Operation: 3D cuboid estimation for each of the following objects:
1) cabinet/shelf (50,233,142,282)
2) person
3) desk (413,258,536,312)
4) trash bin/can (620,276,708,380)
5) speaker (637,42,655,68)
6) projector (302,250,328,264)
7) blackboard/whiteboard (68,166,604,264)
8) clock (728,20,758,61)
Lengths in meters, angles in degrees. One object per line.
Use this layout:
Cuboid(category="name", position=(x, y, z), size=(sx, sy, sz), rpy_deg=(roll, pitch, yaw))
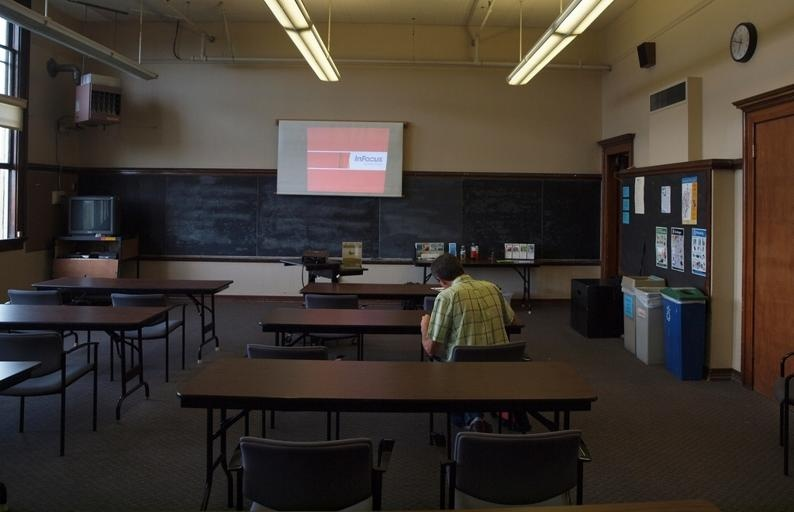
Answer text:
Cuboid(category="cabinet/shelf", position=(-5.116, 0.020, 10.312), size=(1.336, 0.924, 0.668), rpy_deg=(-1, -1, -7))
Cuboid(category="person", position=(0.653, 0.826, 5.757), size=(0.894, 1.651, 0.924), rpy_deg=(1, 4, 2))
Cuboid(category="desk", position=(1.427, 0.442, 10.684), size=(2.020, 0.792, 0.552), rpy_deg=(1, 11, 12))
Cuboid(category="trash bin/can", position=(3.350, 0.898, 7.561), size=(0.478, 0.902, 1.276), rpy_deg=(1, 1, 0))
Cuboid(category="speaker", position=(3.728, -3.006, 9.157), size=(0.186, 0.351, 0.299), rpy_deg=(1, 4, -8))
Cuboid(category="projector", position=(-1.200, 0.028, 8.859), size=(0.351, 0.169, 0.353), rpy_deg=(0, 5, -12))
Cuboid(category="blackboard/whiteboard", position=(-0.788, -0.716, 10.682), size=(8.497, 1.529, 0.238), rpy_deg=(1, 4, 1))
Cuboid(category="clock", position=(4.183, -2.566, 7.361), size=(0.108, 0.475, 0.331), rpy_deg=(1, 4, -10))
